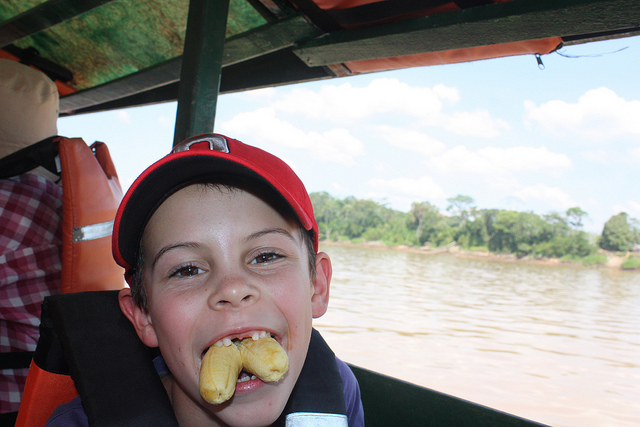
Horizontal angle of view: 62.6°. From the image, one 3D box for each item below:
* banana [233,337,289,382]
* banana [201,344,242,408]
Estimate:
[{"bbox_3d":[-0.341,0.746,2.863,0.317,0.157,0.138,19,-32,46],"label":"banana"},{"bbox_3d":[-0.558,0.846,2.900,0.199,0.164,0.443,-1,31,-11],"label":"banana"}]
